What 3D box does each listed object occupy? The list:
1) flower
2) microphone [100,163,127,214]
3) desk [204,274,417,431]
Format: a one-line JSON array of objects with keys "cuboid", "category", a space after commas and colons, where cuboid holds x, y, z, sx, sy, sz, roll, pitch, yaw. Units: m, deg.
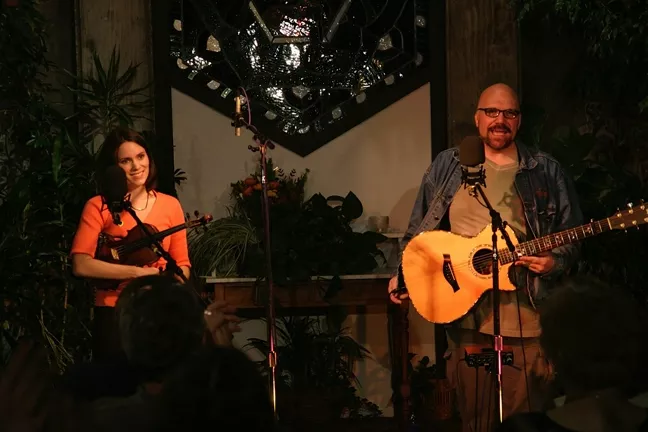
[{"cuboid": [-0.476, -0.196, 5.611, 0.553, 0.363, 0.606, -6, 19, 0], "category": "flower"}, {"cuboid": [-1.245, -0.148, 4.013, 0.139, 0.273, 0.197, 4, -14, -18], "category": "microphone"}, {"cuboid": [-0.061, 0.957, 4.769, 1.177, 1.060, 0.455, -1, -7, -5], "category": "desk"}]
